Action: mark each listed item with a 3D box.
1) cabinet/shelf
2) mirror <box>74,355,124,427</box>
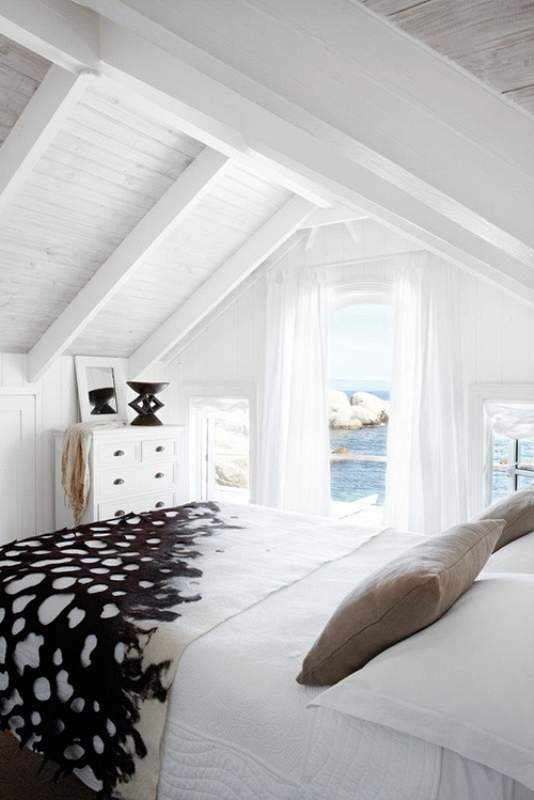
[{"bbox_3d":[-0.999,0.619,4.236,0.340,0.790,0.839,1,1,36],"label":"cabinet/shelf"},{"bbox_3d":[-1.216,-0.076,4.434,0.201,0.480,0.526,3,3,22],"label":"mirror"}]
